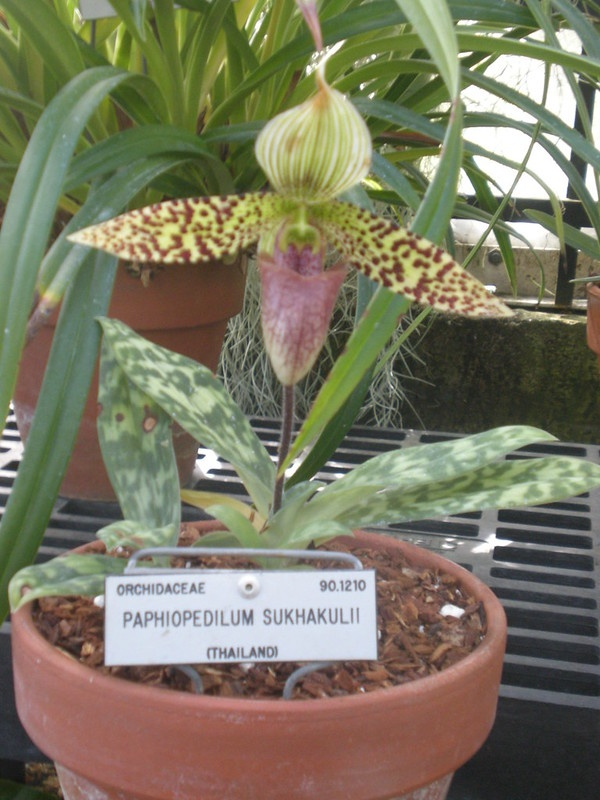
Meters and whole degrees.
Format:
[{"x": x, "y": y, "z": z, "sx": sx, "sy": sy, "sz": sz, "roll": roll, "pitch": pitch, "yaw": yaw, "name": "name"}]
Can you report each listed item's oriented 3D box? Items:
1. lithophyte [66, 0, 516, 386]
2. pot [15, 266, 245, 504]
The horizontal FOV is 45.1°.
[{"x": -0.015, "y": -0.093, "z": 0.407, "sx": 0.219, "sy": 0.184, "sz": 0.237, "roll": -4, "pitch": 10, "yaw": -17, "name": "lithophyte"}, {"x": -0.132, "y": -0.018, "z": 0.840, "sx": 0.274, "sy": 0.279, "sz": 0.258, "roll": 0, "pitch": 6, "yaw": 0, "name": "pot"}]
